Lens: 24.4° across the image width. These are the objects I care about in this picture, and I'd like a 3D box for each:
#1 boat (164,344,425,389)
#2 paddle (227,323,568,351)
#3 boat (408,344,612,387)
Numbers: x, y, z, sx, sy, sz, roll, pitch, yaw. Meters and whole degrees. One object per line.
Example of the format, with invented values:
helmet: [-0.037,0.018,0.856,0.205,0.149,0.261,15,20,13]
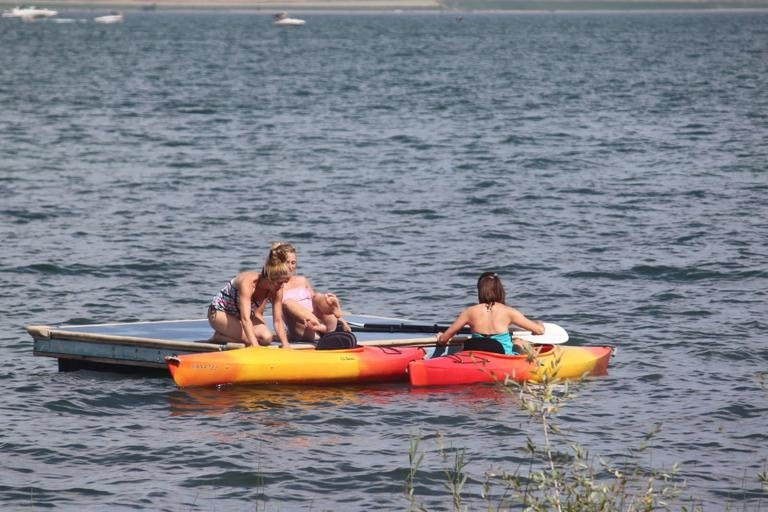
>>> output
boat: [-2.663,3.799,58.853,8.862,1.078,1.859,0,-10,-21]
paddle: [0.374,2.790,58.481,6.258,0.479,1.035,0,7,-6]
boat: [4.358,3.704,58.836,6.949,0.848,1.883,-3,5,-11]
